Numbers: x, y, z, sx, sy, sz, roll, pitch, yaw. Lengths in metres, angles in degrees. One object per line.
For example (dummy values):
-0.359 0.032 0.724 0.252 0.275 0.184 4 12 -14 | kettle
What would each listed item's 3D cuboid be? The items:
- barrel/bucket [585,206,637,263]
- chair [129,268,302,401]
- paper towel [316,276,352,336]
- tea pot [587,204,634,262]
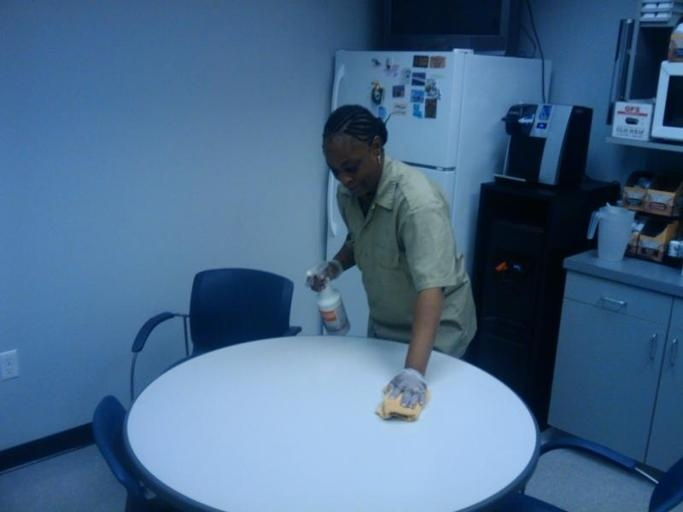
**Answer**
1.431 -0.116 2.866 0.213 0.276 0.137 3 26 16 | barrel/bucket
-0.545 0.355 2.953 0.672 1.021 0.699 2 -2 6 | chair
-0.039 0.226 2.182 0.113 0.250 0.116 -21 -21 29 | paper towel
1.435 -0.103 2.863 0.230 0.286 0.143 6 -20 39 | tea pot
